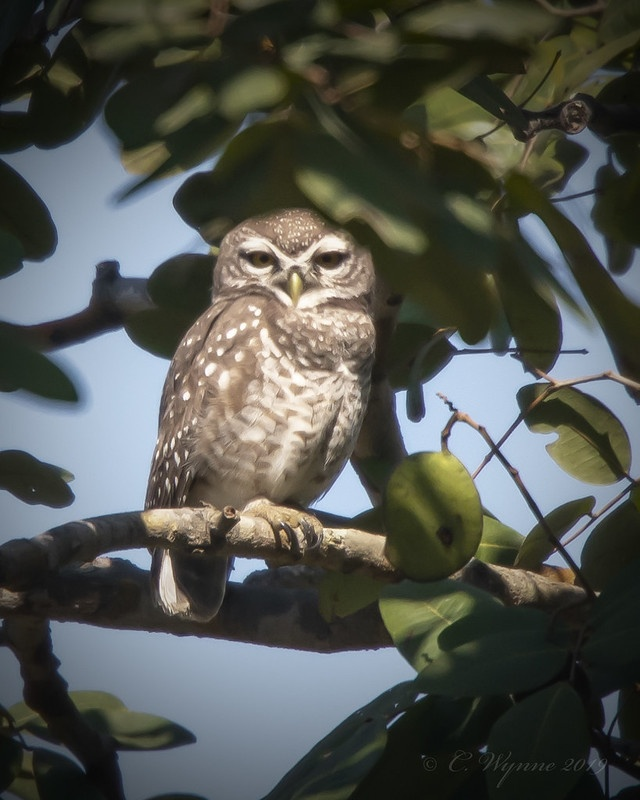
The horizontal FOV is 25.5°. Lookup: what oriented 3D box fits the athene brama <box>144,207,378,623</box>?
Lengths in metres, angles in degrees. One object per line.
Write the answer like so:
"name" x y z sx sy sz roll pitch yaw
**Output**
"athene brama" -0.061 -0.045 1.944 0.269 0.482 0.527 10 17 1
